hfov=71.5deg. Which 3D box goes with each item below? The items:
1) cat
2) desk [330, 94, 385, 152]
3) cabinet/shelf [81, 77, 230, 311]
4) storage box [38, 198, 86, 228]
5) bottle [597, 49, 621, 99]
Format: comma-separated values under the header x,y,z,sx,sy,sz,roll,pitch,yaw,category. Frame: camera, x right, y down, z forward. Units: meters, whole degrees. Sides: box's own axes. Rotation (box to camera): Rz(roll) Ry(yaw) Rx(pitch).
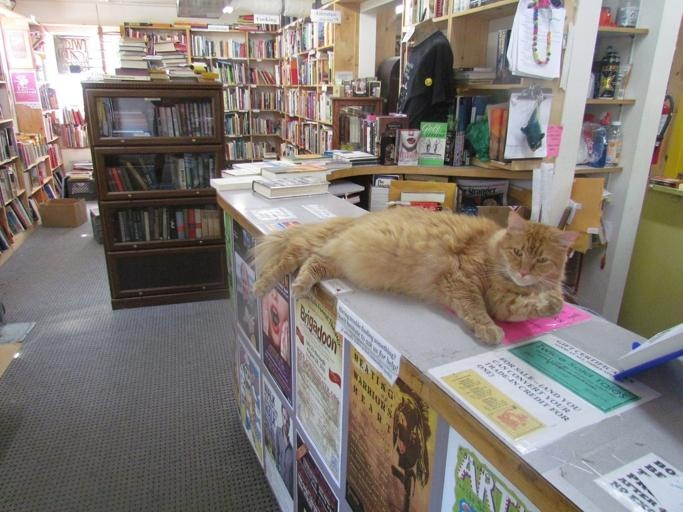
x,y,z,sx,sy,sz,roll,pitch,yaw,category
0.181,0.000,1.310,0.806,0.288,0.432,5,16,21,cat
0.064,-1.157,3.994,0.531,0.618,0.380,1,18,-1,desk
-1.372,-0.465,3.711,1.014,1.727,0.257,-6,21,-13,cabinet/shelf
-3.423,-0.529,5.845,0.402,0.241,0.383,-1,17,-6,storage box
1.755,-1.194,3.131,0.105,0.277,0.101,-1,20,0,bottle
